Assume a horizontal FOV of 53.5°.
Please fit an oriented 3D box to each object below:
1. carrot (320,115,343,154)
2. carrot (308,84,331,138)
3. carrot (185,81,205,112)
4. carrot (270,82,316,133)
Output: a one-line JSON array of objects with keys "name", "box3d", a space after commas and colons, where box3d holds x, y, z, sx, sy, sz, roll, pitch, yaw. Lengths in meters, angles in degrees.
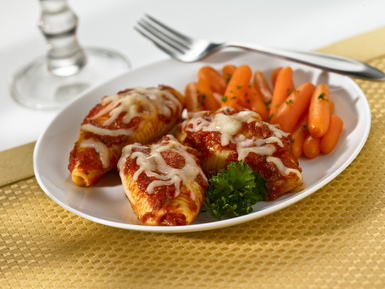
[{"name": "carrot", "box3d": [0.962, -0.073, 2.702, 0.109, 0.095, 0.317, 39, 58, -7]}, {"name": "carrot", "box3d": [0.919, -0.265, 2.780, 0.130, 0.133, 0.451, 6, 49, 13]}, {"name": "carrot", "box3d": [0.002, -0.396, 3.279, 0.128, 0.086, 0.264, -6, 61, 1]}, {"name": "carrot", "box3d": [0.766, -0.279, 2.985, 0.173, 0.168, 0.551, 33, 74, 27]}]
